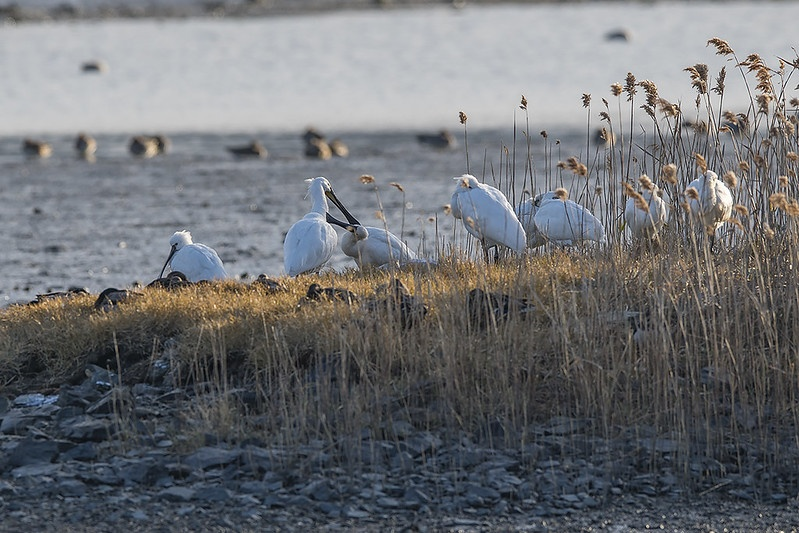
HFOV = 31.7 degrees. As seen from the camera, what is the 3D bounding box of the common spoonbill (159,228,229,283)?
[{"bbox_3d":[-3.257,-0.029,22.549,1.314,0.980,0.705,7,14,11],"label":"common spoonbill"}]
